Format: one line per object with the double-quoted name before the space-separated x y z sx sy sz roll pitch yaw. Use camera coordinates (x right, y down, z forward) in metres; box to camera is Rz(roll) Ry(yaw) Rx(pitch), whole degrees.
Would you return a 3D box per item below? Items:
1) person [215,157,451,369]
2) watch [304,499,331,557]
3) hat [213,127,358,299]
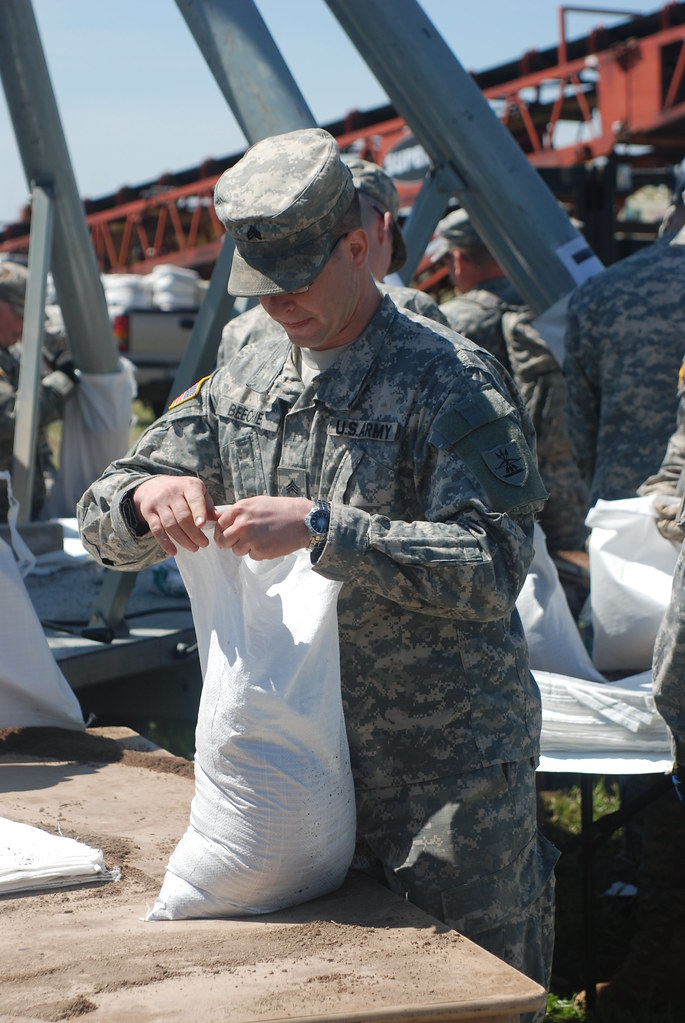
"person" -0.005 -0.708 3.950 0.509 0.372 0.701 1 47 26
"watch" -0.044 0.021 2.398 0.025 0.065 0.062 11 20 19
"hat" -0.100 -0.491 2.541 0.231 0.272 0.187 -3 11 -4
